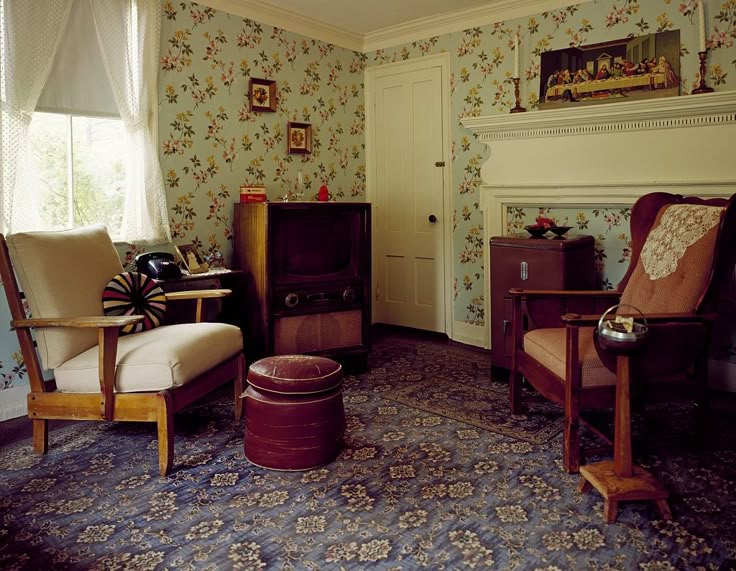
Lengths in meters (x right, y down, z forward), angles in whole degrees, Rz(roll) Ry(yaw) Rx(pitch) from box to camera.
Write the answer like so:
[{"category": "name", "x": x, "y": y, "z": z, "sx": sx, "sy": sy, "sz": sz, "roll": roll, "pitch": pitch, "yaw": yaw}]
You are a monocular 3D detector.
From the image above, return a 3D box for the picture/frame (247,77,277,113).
[{"category": "picture/frame", "x": -0.851, "y": -1.500, "z": 4.469, "sx": 0.043, "sy": 0.256, "sz": 0.302, "roll": 6, "pitch": 7, "yaw": 37}]

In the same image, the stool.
[{"category": "stool", "x": -0.382, "y": 0.649, "z": 2.988, "sx": 0.461, "sy": 0.445, "sz": 0.500, "roll": 1, "pitch": 3, "yaw": 1}]

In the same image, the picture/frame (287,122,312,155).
[{"category": "picture/frame", "x": -0.589, "y": -1.234, "z": 4.755, "sx": 0.082, "sy": 0.267, "sz": 0.282, "roll": 1, "pitch": 2, "yaw": 34}]

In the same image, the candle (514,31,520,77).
[{"category": "candle", "x": 1.136, "y": -1.733, "z": 4.305, "sx": 0.053, "sy": 0.351, "sz": 0.250, "roll": 2, "pitch": 12, "yaw": 14}]

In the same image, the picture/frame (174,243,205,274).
[{"category": "picture/frame", "x": -1.251, "y": -0.182, "z": 3.926, "sx": 0.025, "sy": 0.201, "sz": 0.249, "roll": -27, "pitch": -9, "yaw": 18}]
